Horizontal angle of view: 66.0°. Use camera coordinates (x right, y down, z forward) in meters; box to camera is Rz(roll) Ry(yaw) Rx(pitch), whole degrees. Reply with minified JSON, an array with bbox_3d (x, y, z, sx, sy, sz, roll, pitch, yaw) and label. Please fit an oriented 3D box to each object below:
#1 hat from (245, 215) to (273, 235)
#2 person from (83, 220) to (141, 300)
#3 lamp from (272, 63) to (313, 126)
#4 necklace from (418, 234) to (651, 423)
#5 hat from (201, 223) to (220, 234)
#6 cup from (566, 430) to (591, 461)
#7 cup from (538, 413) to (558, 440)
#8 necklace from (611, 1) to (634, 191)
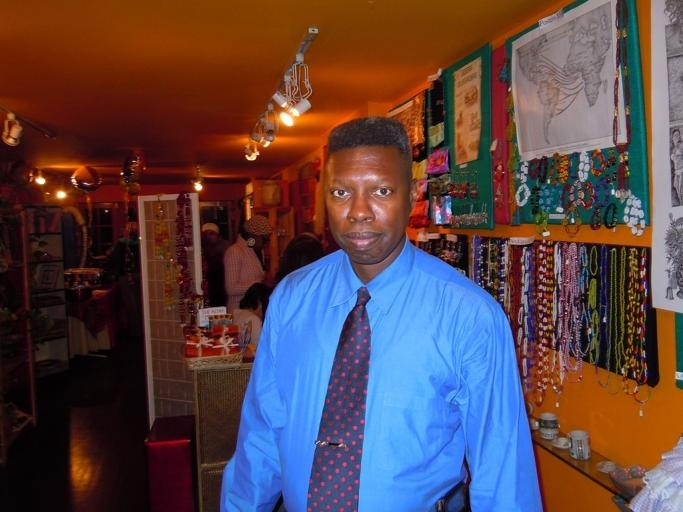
[{"bbox_3d":[-0.897,-0.351,5.577,0.232,0.193,0.225,-9,-19,34],"label":"hat"},{"bbox_3d":[-4.480,0.083,10.255,0.905,1.148,2.973,1,5,-16],"label":"person"},{"bbox_3d":[-0.425,-1.415,4.489,0.324,0.438,0.249,11,37,1],"label":"lamp"},{"bbox_3d":[1.030,0.372,2.571,0.045,0.679,1.161,-1,3,-21],"label":"necklace"},{"bbox_3d":[-1.933,-0.425,7.849,0.216,0.105,0.251,-1,-2,3],"label":"hat"},{"bbox_3d":[1.352,1.073,2.971,0.143,0.144,0.137,-2,-13,0],"label":"cup"},{"bbox_3d":[1.252,1.027,3.165,0.132,0.123,0.133,1,-9,0],"label":"cup"},{"bbox_3d":[1.462,-0.844,2.728,0.093,0.975,0.052,3,9,40],"label":"necklace"}]
